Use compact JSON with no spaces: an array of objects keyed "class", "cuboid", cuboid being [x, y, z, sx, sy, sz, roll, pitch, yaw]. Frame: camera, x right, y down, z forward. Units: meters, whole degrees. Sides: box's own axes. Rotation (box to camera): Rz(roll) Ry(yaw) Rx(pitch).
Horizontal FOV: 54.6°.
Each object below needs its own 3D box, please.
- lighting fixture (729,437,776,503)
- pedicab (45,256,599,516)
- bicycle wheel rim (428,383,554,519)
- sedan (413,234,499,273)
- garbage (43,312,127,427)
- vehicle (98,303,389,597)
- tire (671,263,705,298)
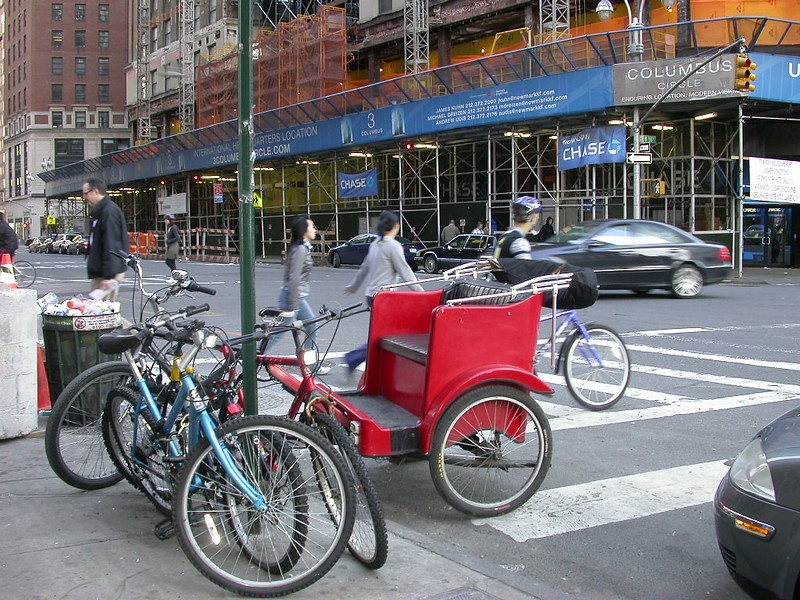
[{"class":"lighting fixture","cuboid":[1.852,0.881,4.011,0.244,0.076,0.166,-25,20,-4]},{"class":"pedicab","cuboid":[0.187,0.543,5.636,2.880,1.293,1.898,1,3,-17]},{"class":"bicycle wheel rim","cuboid":[0.615,1.049,5.377,0.792,0.885,0.246,-4,3,-21]},{"class":"sedan","cuboid":[1.836,-1.480,26.899,1.422,1.195,3.219,-5,7,-40]},{"class":"garbage","cuboid":[-2.944,0.614,7.218,0.625,1.049,0.664,-2,15,-20]},{"class":"vehicle","cuboid":[-1.180,0.879,4.784,2.265,1.452,1.062,14,8,39]},{"class":"tire","cuboid":[6.342,-0.452,17.066,0.629,0.705,0.235,-4,9,-17]}]
